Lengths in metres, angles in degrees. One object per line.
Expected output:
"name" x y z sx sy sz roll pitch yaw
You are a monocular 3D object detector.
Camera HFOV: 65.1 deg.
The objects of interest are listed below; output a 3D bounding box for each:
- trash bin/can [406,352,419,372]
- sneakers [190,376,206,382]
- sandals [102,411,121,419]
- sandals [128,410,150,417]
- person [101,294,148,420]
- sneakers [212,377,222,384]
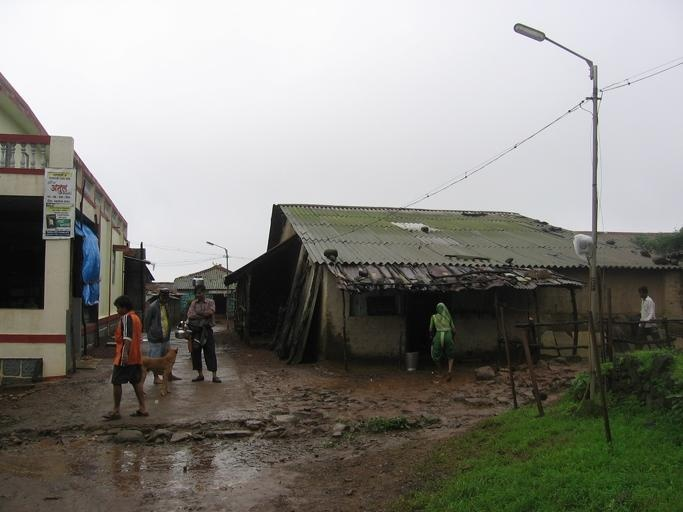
"trash bin/can" 1.886 2.818 14.372 0.398 0.431 0.404 1 -12 -4
"sneakers" -3.275 2.794 12.256 0.323 0.127 0.120 0 -3 10
"sandals" -3.928 2.704 9.162 0.239 0.100 0.129 8 -5 -20
"sandals" -3.531 2.727 9.338 0.316 0.125 0.125 3 -2 3
"person" -3.820 1.746 9.490 0.651 2.096 0.949 -2 6 -21
"sneakers" -2.861 2.794 12.206 0.104 0.114 0.277 4 -11 -28
